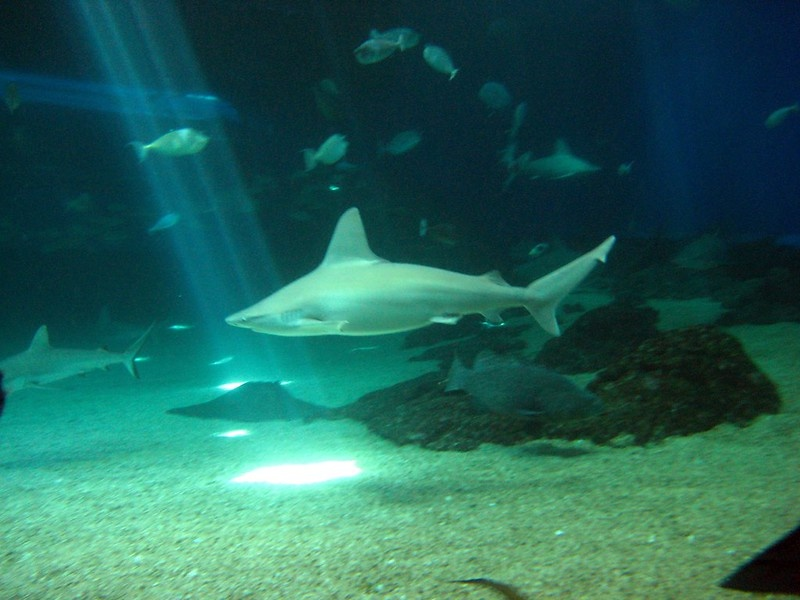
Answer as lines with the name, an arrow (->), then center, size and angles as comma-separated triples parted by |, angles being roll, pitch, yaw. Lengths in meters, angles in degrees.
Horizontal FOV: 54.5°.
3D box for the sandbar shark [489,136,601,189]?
sandbar shark -> 3.971, -3.058, 16.760 | 3.744, 0.937, 0.996 | -1, 13, 0
